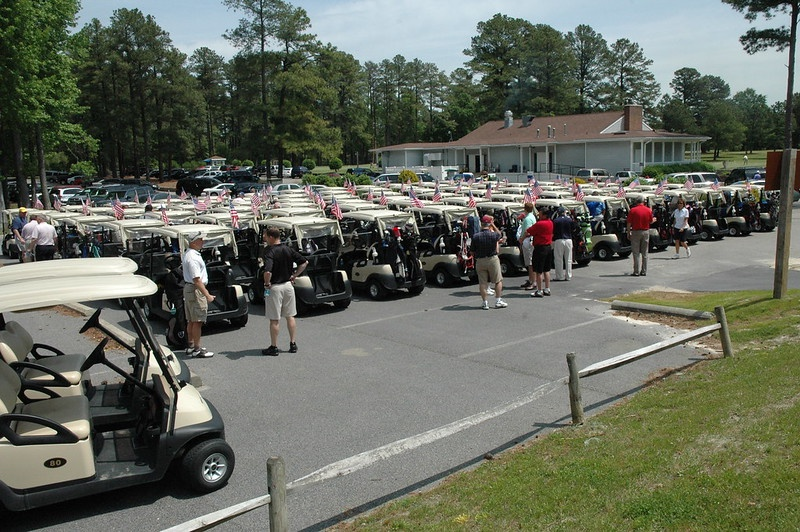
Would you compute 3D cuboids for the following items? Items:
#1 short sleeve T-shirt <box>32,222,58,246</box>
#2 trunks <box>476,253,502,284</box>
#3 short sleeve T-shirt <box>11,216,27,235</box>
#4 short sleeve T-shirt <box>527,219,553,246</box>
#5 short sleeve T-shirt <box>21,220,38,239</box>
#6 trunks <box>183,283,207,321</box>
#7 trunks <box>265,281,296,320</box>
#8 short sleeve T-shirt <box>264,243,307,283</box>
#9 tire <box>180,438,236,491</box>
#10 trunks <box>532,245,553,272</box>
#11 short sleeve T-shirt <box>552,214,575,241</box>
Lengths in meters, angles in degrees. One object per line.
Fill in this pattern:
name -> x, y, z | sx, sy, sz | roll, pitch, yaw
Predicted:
short sleeve T-shirt -> -10.352, -0.884, 19.061 | 0.295, 0.573, 0.610 | 18, 22, 41
trunks -> 2.058, 0.080, 15.205 | 0.650, 0.676, 0.387 | 0, 28, 23
short sleeve T-shirt -> -12.134, -1.245, 20.958 | 0.292, 0.496, 0.583 | 19, 22, 4
short sleeve T-shirt -> 3.465, -0.809, 16.155 | 0.599, 0.560, 0.359 | -7, 24, -8
short sleeve T-shirt -> -10.717, -1.000, 19.019 | 0.295, 0.544, 0.570 | 35, 26, 31
trunks -> -3.824, 0.682, 12.284 | 0.487, 0.652, 0.360 | 18, 26, 41
trunks -> -2.262, 0.653, 12.391 | 0.613, 0.677, 0.369 | -10, 17, -41
short sleeve T-shirt -> -2.226, -0.006, 12.668 | 0.354, 0.596, 0.740 | 15, 20, 41
tire -> -2.550, 2.599, 8.635 | 0.738, 0.756, 0.278 | 1, -1, -40
trunks -> 3.471, -0.163, 16.046 | 0.506, 0.725, 0.413 | 1, 23, 2
short sleeve T-shirt -> 4.292, -0.957, 17.259 | 0.767, 0.711, 0.407 | 2, 27, 7
